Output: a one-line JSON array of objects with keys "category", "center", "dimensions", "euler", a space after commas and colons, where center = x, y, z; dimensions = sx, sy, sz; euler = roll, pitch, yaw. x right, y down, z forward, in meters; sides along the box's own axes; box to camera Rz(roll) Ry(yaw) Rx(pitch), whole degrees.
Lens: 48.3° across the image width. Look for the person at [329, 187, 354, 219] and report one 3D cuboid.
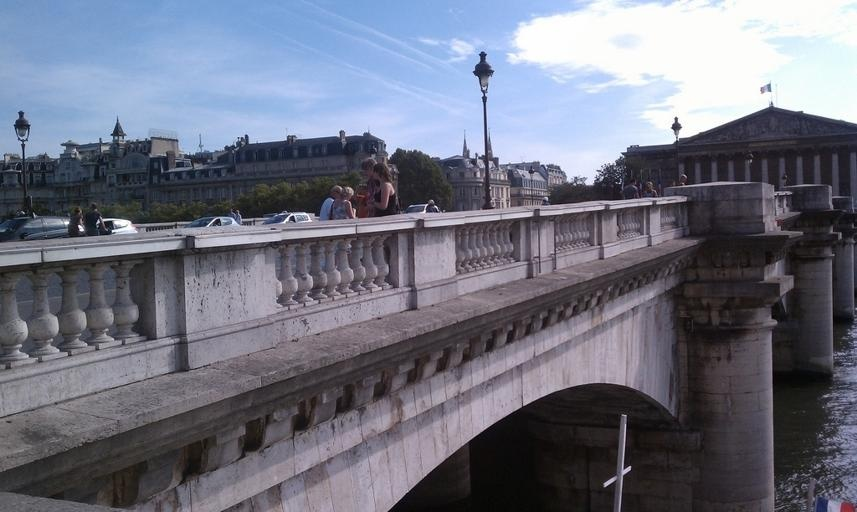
[{"category": "person", "center": [-1.804, -1.117, 19.810], "dimensions": [0.508, 0.610, 1.156], "euler": [-3, 7, -5]}]
